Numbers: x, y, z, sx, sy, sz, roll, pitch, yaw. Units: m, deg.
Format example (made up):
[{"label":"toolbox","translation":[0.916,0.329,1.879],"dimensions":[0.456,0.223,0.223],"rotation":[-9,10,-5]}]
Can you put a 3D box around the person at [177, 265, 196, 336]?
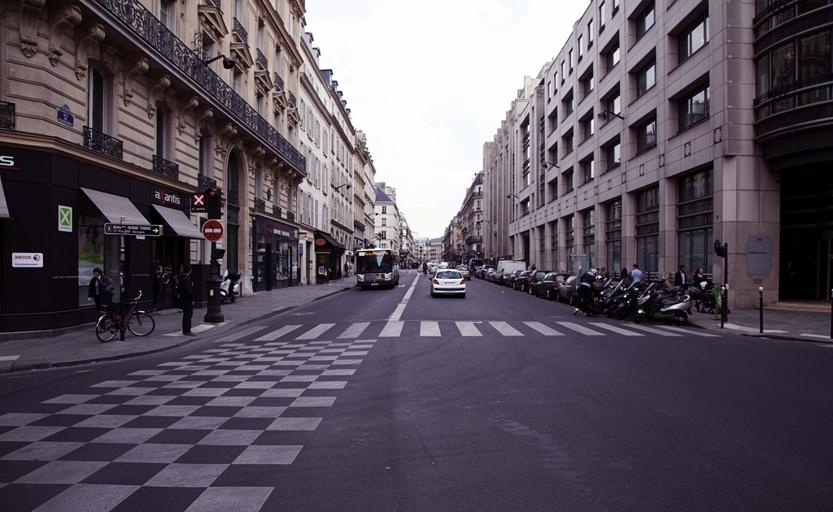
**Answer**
[{"label":"person","translation":[-7.859,1.536,22.972],"dimensions":[0.437,2.276,1.448],"rotation":[-1,-3,-17]}]

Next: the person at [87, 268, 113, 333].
[{"label":"person","translation":[-10.203,1.222,21.875],"dimensions":[0.658,1.688,1.247],"rotation":[0,-3,-35]}]

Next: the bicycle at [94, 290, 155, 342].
[{"label":"bicycle","translation":[-9.597,1.982,22.474],"dimensions":[1.113,1.636,2.525],"rotation":[3,7,35]}]

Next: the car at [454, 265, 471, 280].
[{"label":"car","translation":[4.836,1.625,67.525],"dimensions":[1.230,1.098,2.953],"rotation":[0,-5,-1]}]

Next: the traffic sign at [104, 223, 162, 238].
[{"label":"traffic sign","translation":[-9.283,-0.874,21.805],"dimensions":[1.612,0.470,1.502],"rotation":[0,-4,-40]}]

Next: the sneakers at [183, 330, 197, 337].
[{"label":"sneakers","translation":[-7.514,2.582,22.367],"dimensions":[0.389,0.174,0.171],"rotation":[2,1,-9]}]

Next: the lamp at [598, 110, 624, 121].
[{"label":"lamp","translation":[12.604,-9.005,43.429],"dimensions":[0.677,0.734,1.661],"rotation":[-24,28,-34]}]

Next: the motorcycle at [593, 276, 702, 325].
[{"label":"motorcycle","translation":[9.316,1.899,26.943],"dimensions":[3.232,1.862,1.839],"rotation":[4,1,3]}]

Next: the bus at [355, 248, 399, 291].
[{"label":"bus","translation":[-2.884,0.871,47.740],"dimensions":[2.610,2.883,3.070],"rotation":[-2,-3,-9]}]
